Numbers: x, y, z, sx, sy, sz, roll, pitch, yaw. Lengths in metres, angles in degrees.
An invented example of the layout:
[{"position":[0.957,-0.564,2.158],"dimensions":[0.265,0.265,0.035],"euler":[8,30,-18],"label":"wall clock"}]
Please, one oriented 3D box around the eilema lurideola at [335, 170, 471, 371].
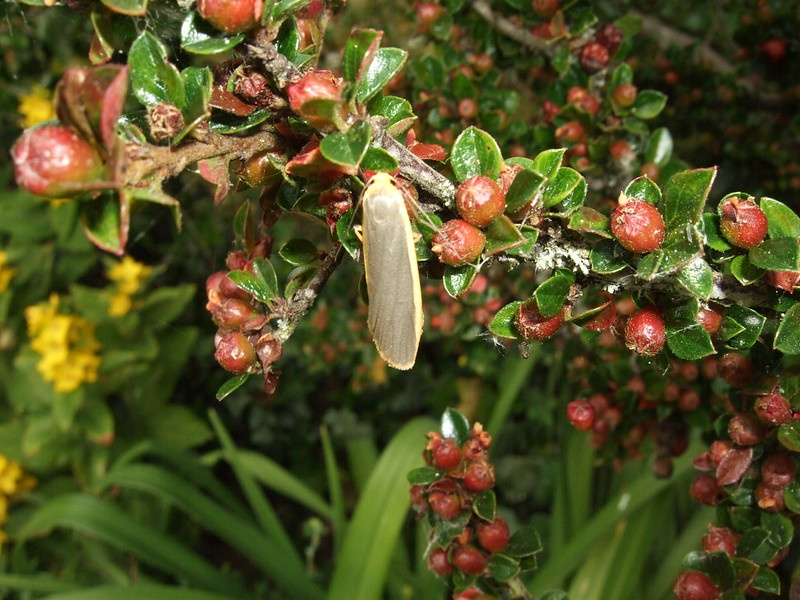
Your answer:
[{"position":[-0.013,-0.048,1.437],"dimensions":[0.102,0.331,0.075],"euler":[-1,17,14],"label":"eilema lurideola"}]
